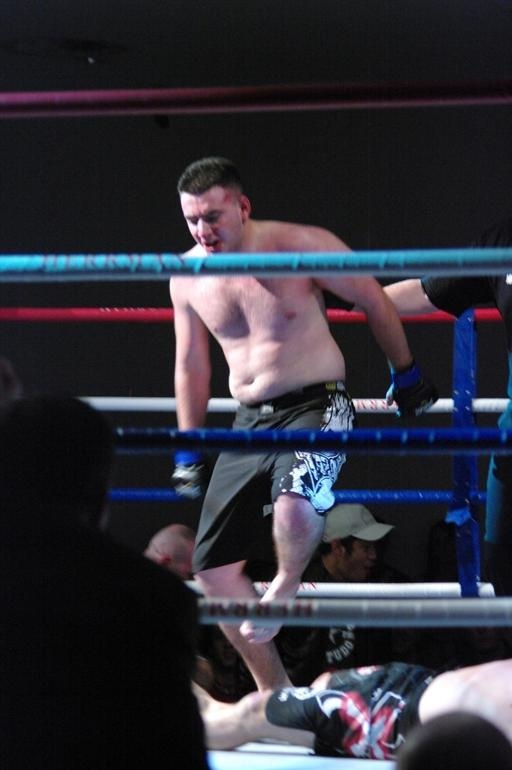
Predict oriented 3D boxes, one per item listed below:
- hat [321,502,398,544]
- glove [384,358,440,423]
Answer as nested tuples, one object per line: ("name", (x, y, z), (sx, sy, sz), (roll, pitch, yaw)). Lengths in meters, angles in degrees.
("hat", (0.308, 0.411, 2.323), (0.217, 0.109, 0.152), (-3, -1, 18))
("glove", (0.335, 0.011, 1.707), (0.065, 0.096, 0.123), (9, 46, -45))
